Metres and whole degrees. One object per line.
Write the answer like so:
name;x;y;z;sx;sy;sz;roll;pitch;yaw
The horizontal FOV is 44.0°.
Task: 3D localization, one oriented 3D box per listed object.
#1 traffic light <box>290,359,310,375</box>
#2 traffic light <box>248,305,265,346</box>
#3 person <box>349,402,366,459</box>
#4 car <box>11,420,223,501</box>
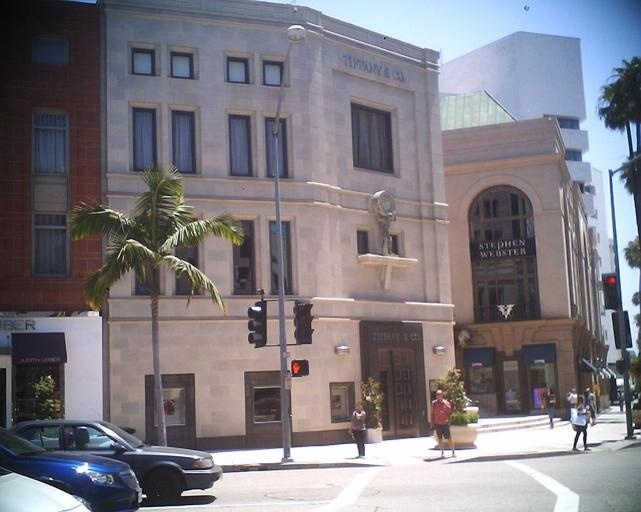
traffic light;-0.691;3.712;26.381;0.613;0.529;0.417;-5;-9;14
traffic light;-2.062;2.215;26.027;0.559;1.534;0.583;-1;-9;-9
person;1.316;6.020;27.417;0.448;1.809;1.046;-3;-9;4
car;-4.655;4.731;18.969;4.362;1.629;2.186;2;-6;-8
